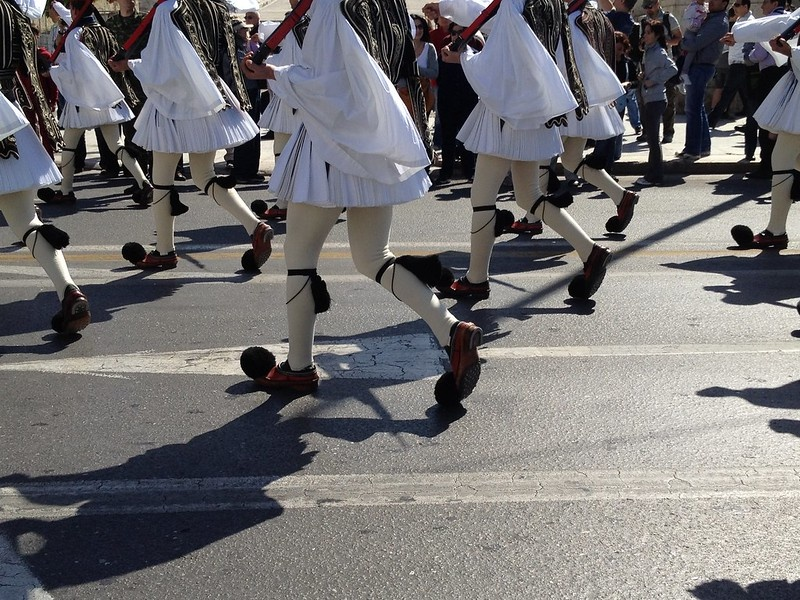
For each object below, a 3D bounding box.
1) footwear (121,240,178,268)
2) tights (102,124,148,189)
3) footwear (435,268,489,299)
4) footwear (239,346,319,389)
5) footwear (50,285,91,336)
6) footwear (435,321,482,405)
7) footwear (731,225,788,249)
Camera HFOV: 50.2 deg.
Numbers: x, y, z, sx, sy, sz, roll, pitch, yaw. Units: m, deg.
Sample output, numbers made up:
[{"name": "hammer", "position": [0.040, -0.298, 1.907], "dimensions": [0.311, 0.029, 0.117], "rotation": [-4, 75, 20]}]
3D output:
[{"name": "footwear", "position": [-2.293, -0.421, 7.867], "dimensions": [0.478, 0.204, 0.220], "rotation": [7, 2, -5]}, {"name": "tights", "position": [-3.427, -1.926, 10.597], "dimensions": [0.471, 0.211, 1.157], "rotation": [0, 43, -12]}, {"name": "footwear", "position": [0.462, -0.137, 6.946], "dimensions": [0.510, 0.191, 0.197], "rotation": [8, 1, 4]}, {"name": "footwear", "position": [-0.745, 0.418, 5.302], "dimensions": [0.504, 0.202, 0.206], "rotation": [8, 20, 21]}, {"name": "footwear", "position": [-2.302, 0.086, 6.085], "dimensions": [0.197, 0.435, 0.208], "rotation": [7, 46, -43]}, {"name": "footwear", "position": [0.431, 0.376, 5.188], "dimensions": [0.352, 0.386, 0.924], "rotation": [0, 10, 7]}, {"name": "footwear", "position": [3.424, -0.630, 8.261], "dimensions": [0.631, 0.240, 0.203], "rotation": [4, 20, 9]}]
